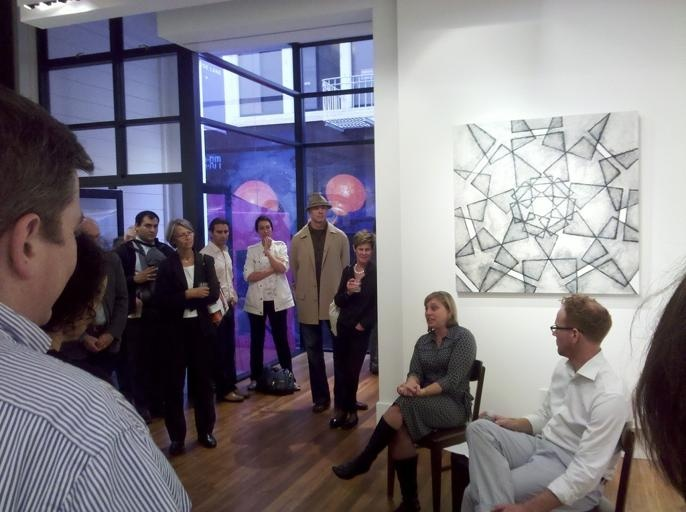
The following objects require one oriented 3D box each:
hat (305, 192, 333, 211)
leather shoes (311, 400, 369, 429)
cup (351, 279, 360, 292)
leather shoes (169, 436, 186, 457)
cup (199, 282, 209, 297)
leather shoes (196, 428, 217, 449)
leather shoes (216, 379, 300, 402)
[{"bbox_3d":[-0.224,-0.505,4.837,0.218,0.147,0.272,-5,2,-7],"label":"hat"},{"bbox_3d":[0.067,1.288,4.287,0.176,0.231,0.537,-6,-13,39],"label":"leather shoes"},{"bbox_3d":[0.101,0.233,4.092,0.083,0.083,0.073,-2,4,-26],"label":"cup"},{"bbox_3d":[-1.157,1.335,3.624,0.068,0.063,0.144,1,-12,-4],"label":"leather shoes"},{"bbox_3d":[-0.956,0.225,3.623,0.082,0.087,0.075,-5,-9,17],"label":"cup"},{"bbox_3d":[-0.970,1.330,3.820,0.173,0.172,0.079,-5,-6,35],"label":"leather shoes"},{"bbox_3d":[-0.795,1.266,4.902,0.515,0.229,0.174,3,-8,-8],"label":"leather shoes"}]
